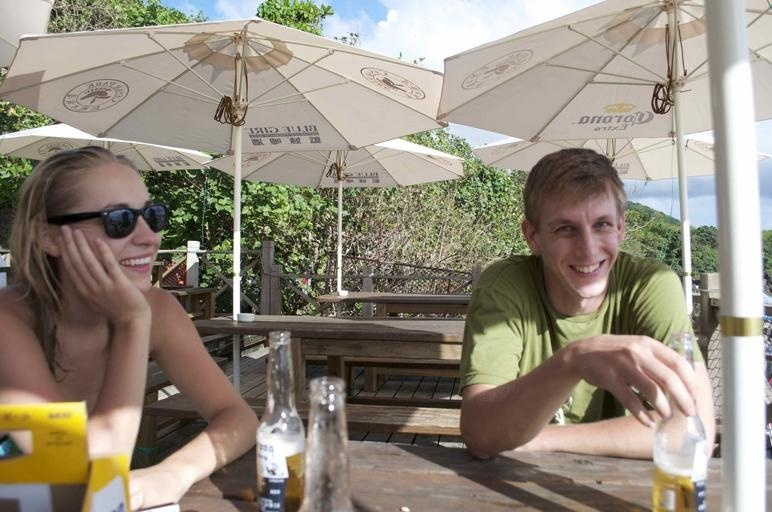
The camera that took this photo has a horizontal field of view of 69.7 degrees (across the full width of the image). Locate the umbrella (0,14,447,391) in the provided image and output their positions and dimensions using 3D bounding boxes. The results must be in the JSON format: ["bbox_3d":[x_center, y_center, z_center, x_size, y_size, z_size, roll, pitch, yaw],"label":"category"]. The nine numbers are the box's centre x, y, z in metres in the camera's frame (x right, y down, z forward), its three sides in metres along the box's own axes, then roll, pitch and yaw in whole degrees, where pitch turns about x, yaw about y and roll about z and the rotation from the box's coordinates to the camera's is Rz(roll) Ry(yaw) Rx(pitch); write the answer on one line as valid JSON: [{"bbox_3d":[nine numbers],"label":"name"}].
[{"bbox_3d":[-1.302,-0.503,4.855,2.942,1.889,3.002,1,-6,5],"label":"umbrella"}]

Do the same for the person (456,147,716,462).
[{"bbox_3d":[0.730,0.124,2.145,0.882,1.216,1.109,-3,-6,30],"label":"person"}]
